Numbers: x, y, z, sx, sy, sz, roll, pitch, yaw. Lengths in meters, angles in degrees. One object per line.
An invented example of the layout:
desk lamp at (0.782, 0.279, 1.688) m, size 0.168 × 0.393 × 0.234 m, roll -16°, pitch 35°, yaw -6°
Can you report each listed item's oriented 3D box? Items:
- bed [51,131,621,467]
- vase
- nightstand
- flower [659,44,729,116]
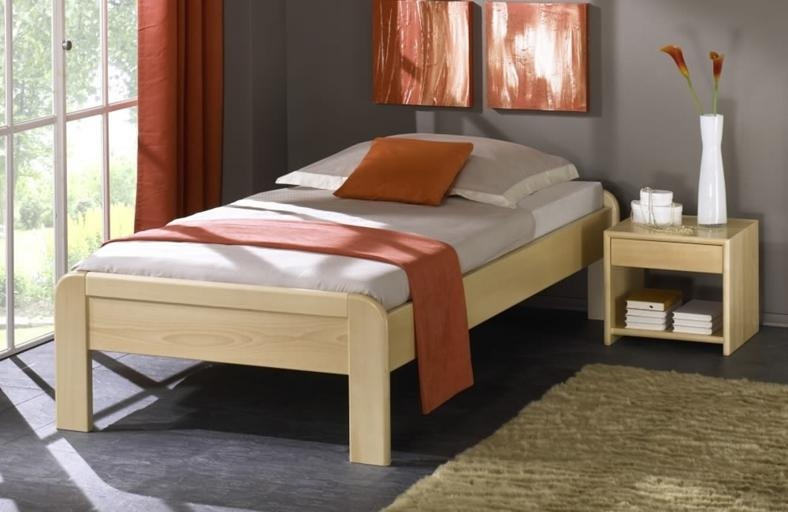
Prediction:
bed at (0.067, 0.023, 3.609) m, size 1.442 × 0.775 × 2.330 m, roll 4°, pitch 11°, yaw 25°
vase at (1.756, -0.468, 3.855) m, size 0.169 × 0.597 × 0.150 m, roll 2°, pitch 15°, yaw 13°
nightstand at (1.663, 0.187, 4.067) m, size 0.719 × 0.611 × 0.560 m, roll 4°, pitch 7°, yaw 43°
flower at (1.708, -0.997, 4.018) m, size 0.323 × 0.376 × 0.427 m, roll 5°, pitch 15°, yaw 23°
